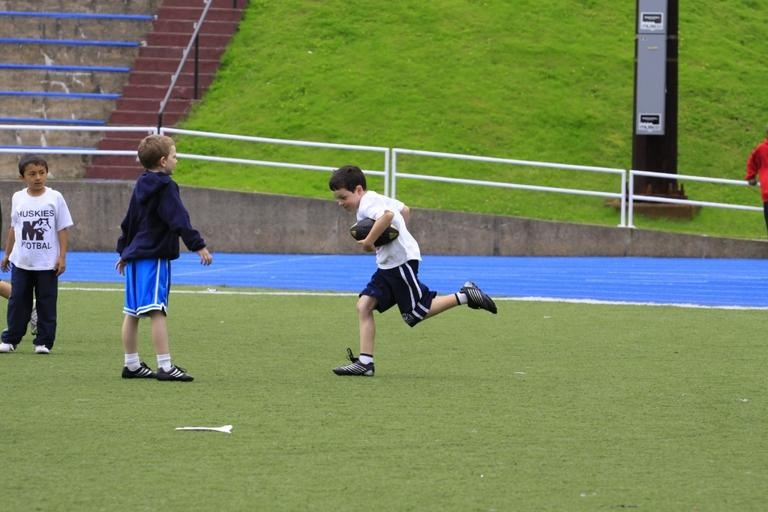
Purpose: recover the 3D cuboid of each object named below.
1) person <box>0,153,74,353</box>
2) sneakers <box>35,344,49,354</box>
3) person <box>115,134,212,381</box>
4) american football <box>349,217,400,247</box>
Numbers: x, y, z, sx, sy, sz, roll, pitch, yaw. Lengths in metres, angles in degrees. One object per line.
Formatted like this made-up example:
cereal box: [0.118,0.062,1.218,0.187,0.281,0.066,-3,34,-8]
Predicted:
person: [-4.537,-0.031,23.388,0.915,2.532,0.654,0,6,-8]
sneakers: [-4.410,1.203,23.249,0.186,0.112,0.119,0,6,-8]
person: [-2.814,0.024,22.403,1.036,3.015,0.520,1,6,1]
american football: [-0.139,-0.302,22.550,0.551,0.307,0.321,3,9,25]
